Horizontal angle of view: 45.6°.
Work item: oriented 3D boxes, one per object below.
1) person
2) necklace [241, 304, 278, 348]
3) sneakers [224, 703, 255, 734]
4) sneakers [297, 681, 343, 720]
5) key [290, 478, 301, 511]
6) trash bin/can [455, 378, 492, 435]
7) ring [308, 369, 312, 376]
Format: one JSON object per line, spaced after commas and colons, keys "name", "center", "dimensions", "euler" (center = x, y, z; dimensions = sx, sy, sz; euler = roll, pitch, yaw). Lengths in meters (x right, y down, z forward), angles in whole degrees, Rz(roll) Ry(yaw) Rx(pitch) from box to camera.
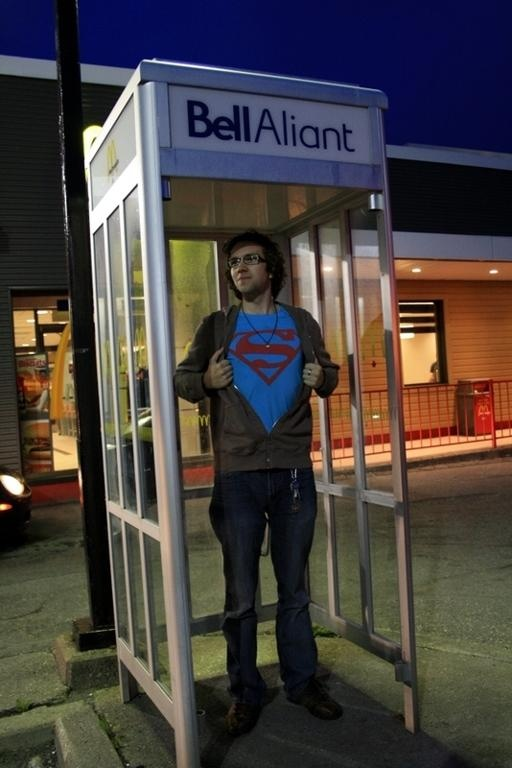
{"name": "person", "center": [0.018, 0.353, 2.567], "dimensions": [0.698, 2.096, 0.440], "euler": [-2, -5, -11]}
{"name": "necklace", "center": [0.013, -0.239, 2.570], "dimensions": [0.191, 0.257, 0.018], "euler": [0, -21, -14]}
{"name": "sneakers", "center": [-0.059, 1.355, 2.451], "dimensions": [0.124, 0.092, 0.116], "euler": [-4, -5, 0]}
{"name": "sneakers", "center": [0.266, 1.336, 2.544], "dimensions": [0.084, 0.096, 0.234], "euler": [4, -20, -17]}
{"name": "key", "center": [0.161, 0.451, 2.489], "dimensions": [0.041, 0.150, 0.042], "euler": [-3, -5, -7]}
{"name": "trash bin/can", "center": [5.082, 0.594, 14.270], "dimensions": [0.784, 1.305, 0.716], "euler": [-5, -5, 16]}
{"name": "ring", "center": [0.222, -0.046, 2.490], "dimensions": [0.014, 0.024, 0.021], "euler": [2, -3, 11]}
